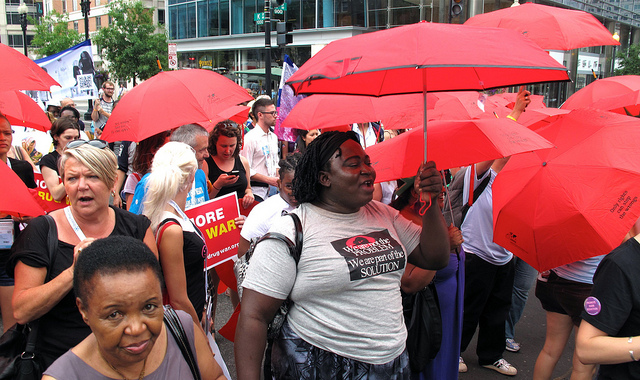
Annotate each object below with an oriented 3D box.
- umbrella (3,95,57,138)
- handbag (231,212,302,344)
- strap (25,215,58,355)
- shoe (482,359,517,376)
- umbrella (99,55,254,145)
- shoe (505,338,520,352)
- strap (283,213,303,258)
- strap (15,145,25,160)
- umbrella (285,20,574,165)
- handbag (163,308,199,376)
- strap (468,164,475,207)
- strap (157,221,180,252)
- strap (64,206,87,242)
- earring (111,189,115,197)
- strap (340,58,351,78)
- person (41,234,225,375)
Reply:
[{"bbox_3d":[-3.773,-0.988,6.242,0.563,0.224,0.569,-8,-21,8],"label":"umbrella"},{"bbox_3d":[-0.541,0.704,3.982,0.500,0.872,0.636,0,17,-33],"label":"handbag"},{"bbox_3d":[-2.286,0.783,3.960,0.215,1.058,0.216,1,-1,-30],"label":"strap"},{"bbox_3d":[2.345,2.254,6.146,0.308,0.122,0.116,2,8,29],"label":"shoe"},{"bbox_3d":[-1.907,-1.031,6.083,1.325,0.557,1.350,-6,19,35],"label":"umbrella"},{"bbox_3d":[2.637,2.117,6.599,0.104,0.095,0.221,-5,7,-39],"label":"shoe"},{"bbox_3d":[-0.206,0.328,3.713,0.061,0.239,0.174,-4,11,-31],"label":"strap"},{"bbox_3d":[-4.571,-0.566,7.336,0.213,0.198,0.051,5,11,36],"label":"strap"},{"bbox_3d":[0.860,-0.769,3.929,2.157,1.130,1.163,-2,9,-4],"label":"umbrella"},{"bbox_3d":[-1.012,1.137,3.694,0.128,0.431,0.306,-25,7,-32],"label":"handbag"},{"bbox_3d":[1.846,-0.045,5.847,0.071,0.343,0.174,1,18,11],"label":"strap"},{"bbox_3d":[-1.361,0.421,4.368,0.048,0.191,0.201,23,10,-2],"label":"strap"},{"bbox_3d":[-2.104,0.289,4.137,0.062,0.267,0.198,-14,-3,5],"label":"strap"},{"bbox_3d":[-2.230,0.033,5.194,0.050,0.071,0.018,0,4,6],"label":"earring"},{"bbox_3d":[0.192,-0.915,3.572,0.124,0.125,0.036,11,-9,17],"label":"strap"},{"bbox_3d":[-1.501,0.883,3.710,1.119,0.971,0.592,-20,14,-39],"label":"person"}]
